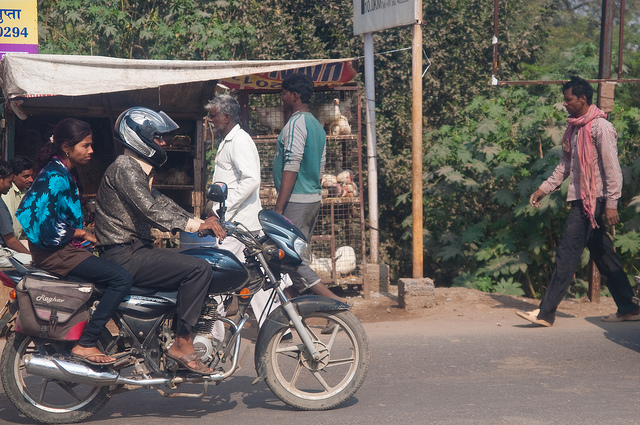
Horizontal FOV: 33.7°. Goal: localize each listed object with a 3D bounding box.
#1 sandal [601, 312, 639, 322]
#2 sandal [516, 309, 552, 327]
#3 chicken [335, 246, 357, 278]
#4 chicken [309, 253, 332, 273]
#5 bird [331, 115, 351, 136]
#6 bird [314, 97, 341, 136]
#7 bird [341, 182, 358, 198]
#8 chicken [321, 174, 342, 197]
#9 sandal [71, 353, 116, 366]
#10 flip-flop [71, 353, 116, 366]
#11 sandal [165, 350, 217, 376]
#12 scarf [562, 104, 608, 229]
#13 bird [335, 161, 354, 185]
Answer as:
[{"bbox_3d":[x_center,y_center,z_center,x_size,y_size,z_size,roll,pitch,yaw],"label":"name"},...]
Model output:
[{"bbox_3d":[4.368,1.518,15.322,0.500,0.203,0.163,1,-1,13],"label":"sandal"},{"bbox_3d":[3.092,1.519,15.346,0.563,0.238,0.208,20,-8,7],"label":"sandal"},{"bbox_3d":[0.437,0.812,17.497,0.327,0.490,0.257,-1,7,2],"label":"chicken"},{"bbox_3d":[0.038,0.836,17.396,0.340,0.264,0.297,-1,6,1],"label":"chicken"},{"bbox_3d":[0.355,-1.441,17.703,0.244,0.312,0.332,6,-25,-25],"label":"bird"},{"bbox_3d":[0.153,-1.639,18.098,0.607,0.772,0.448,0,2,10],"label":"bird"},{"bbox_3d":[0.494,-0.377,17.659,0.244,0.220,0.236,0,7,10],"label":"bird"},{"bbox_3d":[0.206,-0.446,17.687,0.273,0.372,0.219,-5,8,-28],"label":"chicken"},{"bbox_3d":[-2.783,1.807,12.992,0.485,0.125,0.188,6,-9,3],"label":"sandal"},{"bbox_3d":[-2.792,1.795,12.992,0.476,0.122,0.185,6,-11,1],"label":"flip-flop"},{"bbox_3d":[-1.544,1.826,13.048,0.668,0.207,0.257,22,12,5],"label":"sandal"},{"bbox_3d":[3.765,-0.657,15.158,0.566,1.728,0.485,1,7,18],"label":"scarf"},{"bbox_3d":[0.422,-0.668,17.835,0.317,0.373,0.466,-1,6,1],"label":"bird"}]
